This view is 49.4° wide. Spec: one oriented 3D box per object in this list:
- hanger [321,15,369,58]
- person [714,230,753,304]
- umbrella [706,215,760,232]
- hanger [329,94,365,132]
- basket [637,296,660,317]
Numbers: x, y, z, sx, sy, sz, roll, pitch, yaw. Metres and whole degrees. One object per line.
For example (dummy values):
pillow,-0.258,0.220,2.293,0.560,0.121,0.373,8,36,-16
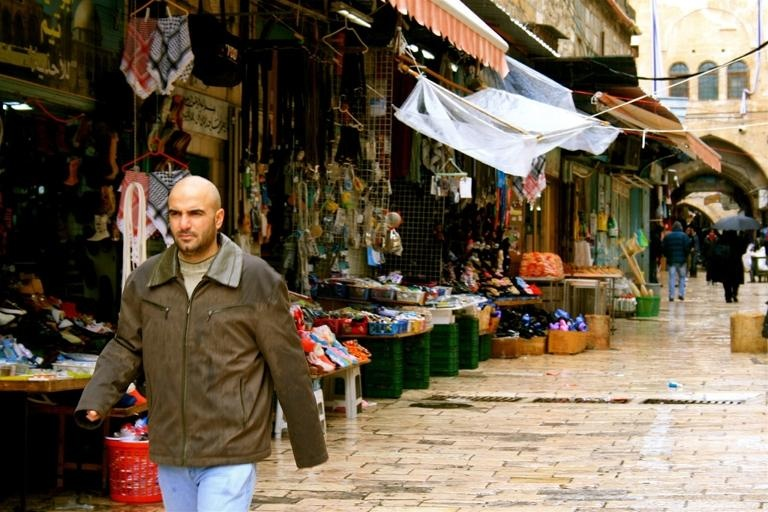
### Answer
hanger,-0.384,-2.306,8.677,0.434,0.388,0.812,-4,-5,9
person,9.554,0.246,23.113,0.752,2.061,1.288,-5,-6,22
umbrella,10.106,-0.958,24.045,1.142,0.520,1.123,-3,-5,2
hanger,-0.383,-1.523,8.985,0.339,0.421,0.550,-3,-5,0
basket,5.952,1.136,18.979,0.456,0.339,0.453,2,-4,-23
